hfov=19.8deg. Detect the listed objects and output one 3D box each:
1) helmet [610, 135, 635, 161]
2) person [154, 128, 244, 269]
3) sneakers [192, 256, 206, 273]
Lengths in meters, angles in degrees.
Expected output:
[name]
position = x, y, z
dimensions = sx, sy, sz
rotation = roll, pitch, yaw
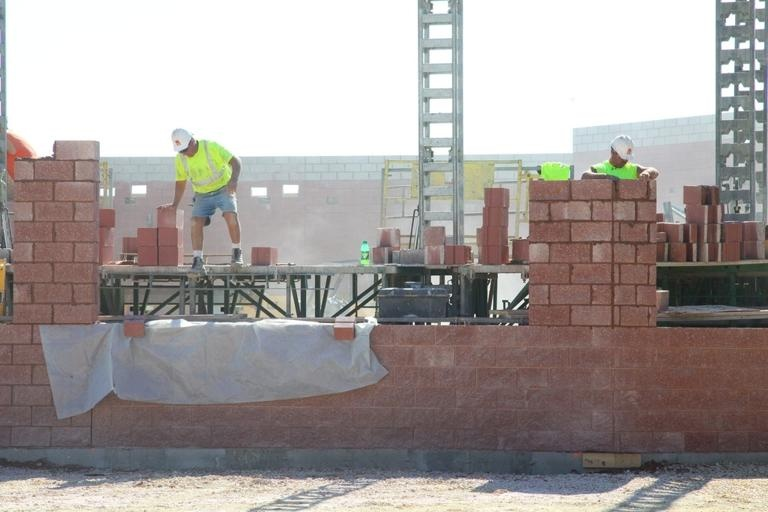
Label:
[helmet]
position = 3.997, -1.844, 36.308
dimensions = 0.375, 0.417, 0.319
rotation = -17, 6, 39
[person]
position = -2.996, -0.956, 36.503
dimensions = 1.134, 2.305, 1.277
rotation = -3, -1, -5
[sneakers]
position = -3.138, 0.114, 36.545
dimensions = 0.221, 0.282, 0.411
rotation = -2, -1, -4
